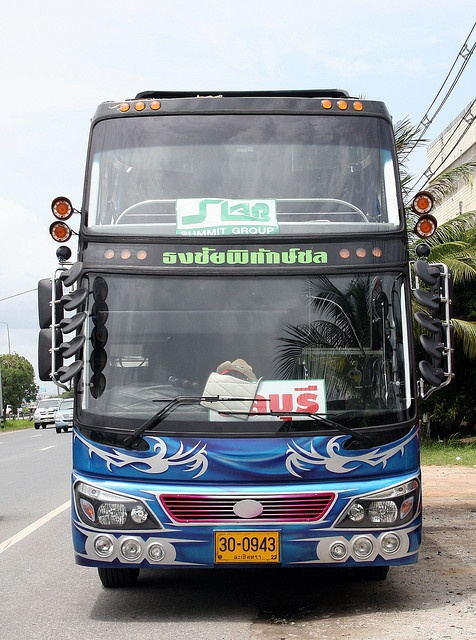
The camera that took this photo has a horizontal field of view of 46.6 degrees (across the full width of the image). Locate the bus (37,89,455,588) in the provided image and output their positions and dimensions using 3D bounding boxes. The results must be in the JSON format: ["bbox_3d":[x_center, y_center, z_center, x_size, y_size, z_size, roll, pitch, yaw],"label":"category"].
[{"bbox_3d":[-0.001,0.015,5.574,2.648,3.610,4.296,0,1,-1],"label":"bus"}]

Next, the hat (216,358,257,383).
[{"bbox_3d":[-0.016,0.316,3.490,0.249,0.148,0.088,-1,-3,-5],"label":"hat"}]
